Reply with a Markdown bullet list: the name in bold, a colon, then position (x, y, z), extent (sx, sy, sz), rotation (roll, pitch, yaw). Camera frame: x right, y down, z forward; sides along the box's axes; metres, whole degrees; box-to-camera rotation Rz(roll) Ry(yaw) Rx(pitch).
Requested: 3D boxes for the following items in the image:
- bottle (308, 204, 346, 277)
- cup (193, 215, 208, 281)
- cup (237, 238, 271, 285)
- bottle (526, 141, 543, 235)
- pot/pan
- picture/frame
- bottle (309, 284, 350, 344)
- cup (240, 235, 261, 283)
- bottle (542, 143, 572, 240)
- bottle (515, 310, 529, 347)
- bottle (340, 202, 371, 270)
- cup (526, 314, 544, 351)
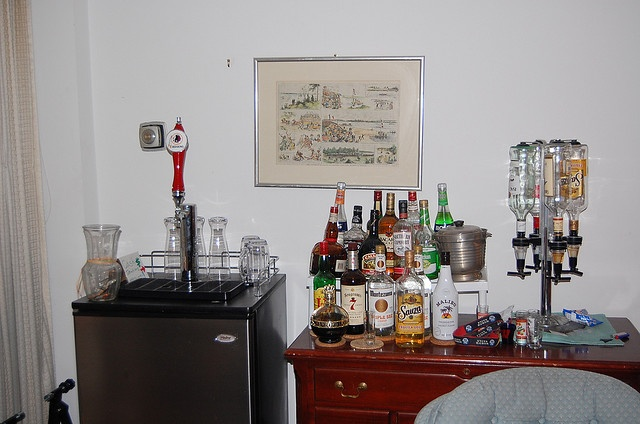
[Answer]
- **bottle**: position (0.040, 0.159, 2.791), extent (0.186, 0.370, 0.188), rotation (1, -7, 0)
- **cup**: position (-0.605, 0.195, 3.006), extent (0.100, 0.319, 0.098), rotation (-7, -2, 0)
- **cup**: position (-0.340, 0.253, 2.806), extent (0.127, 0.222, 0.210), rotation (8, 6, 30)
- **bottle**: position (1.059, -0.112, 2.769), extent (0.056, 0.456, 0.234), rotation (2, 4, 20)
- **pot/pan**: position (0.680, 0.184, 2.724), extent (0.275, 0.277, 0.254), rotation (-4, -5, -23)
- **picture/frame**: position (0.131, -0.484, 2.939), extent (0.721, 0.543, 0.025), rotation (1, 7, 9)
- **bottle**: position (0.046, 0.482, 2.691), extent (0.231, 0.301, 0.234), rotation (-2, -2, 0)
- **cup**: position (-0.360, 0.247, 2.812), extent (0.109, 0.196, 0.183), rotation (10, 21, 15)
- **bottle**: position (1.131, -0.106, 2.689), extent (0.099, 0.473, 0.158), rotation (3, 4, 35)
- **bottle**: position (0.918, 0.532, 2.552), extent (0.085, 0.144, 0.085), rotation (3, -5, 0)
- **bottle**: position (0.176, 0.109, 2.835), extent (0.137, 0.308, 0.125), rotation (4, 17, -1)
- **cup**: position (0.979, 0.543, 2.571), extent (0.086, 0.149, 0.086), rotation (3, -10, 0)
